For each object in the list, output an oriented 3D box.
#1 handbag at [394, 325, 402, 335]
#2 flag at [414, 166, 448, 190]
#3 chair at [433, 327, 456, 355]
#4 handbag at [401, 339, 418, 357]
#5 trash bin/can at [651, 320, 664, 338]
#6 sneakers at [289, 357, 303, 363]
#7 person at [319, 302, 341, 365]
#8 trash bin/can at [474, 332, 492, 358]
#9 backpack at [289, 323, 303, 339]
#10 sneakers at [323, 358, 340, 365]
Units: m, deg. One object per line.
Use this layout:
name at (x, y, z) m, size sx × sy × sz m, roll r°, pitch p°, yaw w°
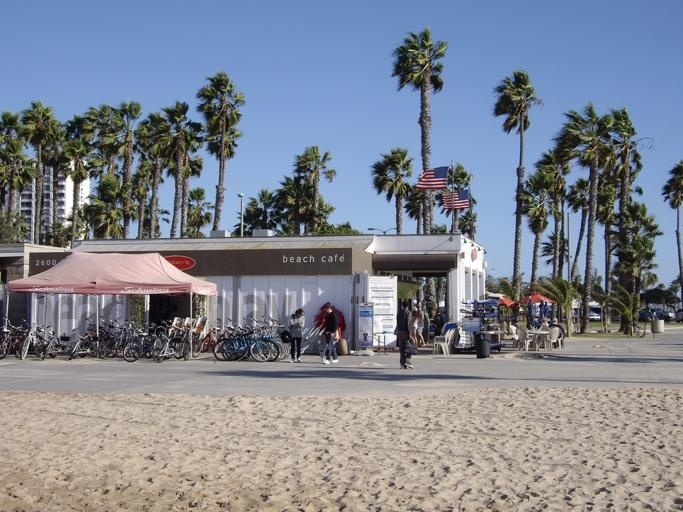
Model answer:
handbag at (1.673, 2.246, 24.381) m, size 0.284 × 0.138 × 0.429 m, roll -1°, pitch 4°, yaw 1°
flag at (4.665, -3.929, 42.240) m, size 1.446 × 1.204 × 1.464 m, roll -1°, pitch -7°, yaw 15°
chair at (3.664, 3.162, 30.526) m, size 0.837 × 1.342 × 0.860 m, roll 8°, pitch -10°, yaw -40°
handbag at (1.968, 2.663, 24.138) m, size 0.412 × 0.481 × 0.279 m, roll 0°, pitch -6°, yaw 5°
trash bin/can at (18.705, 4.307, 48.698) m, size 0.747 × 1.358 × 0.773 m, roll 0°, pitch -6°, yaw 0°
sneakers at (-1.490, 3.366, 26.822) m, size 0.381 × 0.300 × 0.145 m, roll 0°, pitch -7°, yaw 7°
person at (-0.367, 2.482, 26.417) m, size 0.505 × 1.938 × 1.213 m, roll 1°, pitch -6°, yaw -1°
trash bin/can at (4.824, 3.029, 28.207) m, size 0.440 × 0.872 × 0.451 m, roll 1°, pitch -6°, yaw -4°
backpack at (-1.457, 2.370, 26.135) m, size 0.422 × 0.488 × 0.332 m, roll -7°, pitch 3°, yaw -17°
sneakers at (-0.355, 3.387, 26.468) m, size 0.583 × 0.282 × 0.197 m, roll -10°, pitch -9°, yaw 40°
